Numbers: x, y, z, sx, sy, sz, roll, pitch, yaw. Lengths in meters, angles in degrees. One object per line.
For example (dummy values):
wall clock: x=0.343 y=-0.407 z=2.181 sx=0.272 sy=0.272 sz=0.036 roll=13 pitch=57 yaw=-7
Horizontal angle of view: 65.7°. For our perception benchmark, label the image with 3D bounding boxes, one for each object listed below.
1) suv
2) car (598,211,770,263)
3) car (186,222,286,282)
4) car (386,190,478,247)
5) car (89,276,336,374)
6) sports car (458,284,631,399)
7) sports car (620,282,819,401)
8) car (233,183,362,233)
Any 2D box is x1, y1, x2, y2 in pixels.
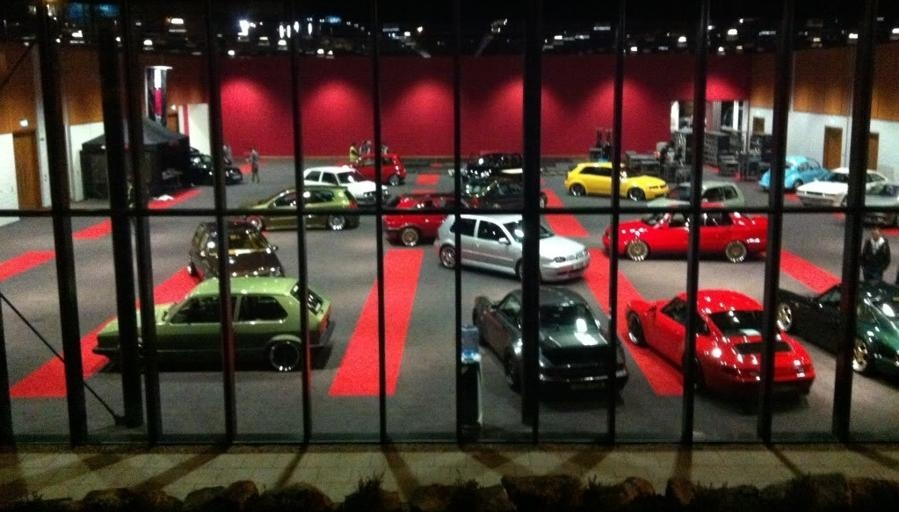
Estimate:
suv: x=1.315 y=-0.103 z=14.729 sx=3.008 sy=0.989 sz=1.448 roll=4 pitch=21 yaw=16
car: x=5.287 y=-0.326 z=15.280 sx=3.611 sy=0.896 sz=1.639 roll=1 pitch=18 yaw=5
car: x=-4.578 y=-0.144 z=14.550 sx=1.388 sy=1.007 sz=2.322 roll=-4 pitch=9 yaw=-26
car: x=-0.432 y=-0.753 z=13.416 sx=1.909 sy=0.636 sz=0.828 roll=-6 pitch=51 yaw=-5
car: x=-4.552 y=1.223 z=13.940 sx=4.283 sy=1.363 sz=1.923 roll=1 pitch=18 yaw=-4
sports car: x=1.996 y=1.733 z=13.531 sx=1.856 sy=0.917 sz=2.991 roll=-3 pitch=21 yaw=-9
sports car: x=5.397 y=1.687 z=13.824 sx=3.385 sy=2.163 sz=1.231 roll=0 pitch=13 yaw=2
car: x=-2.930 y=-0.909 z=13.401 sx=2.097 sy=0.636 sz=1.008 roll=2 pitch=23 yaw=-3
